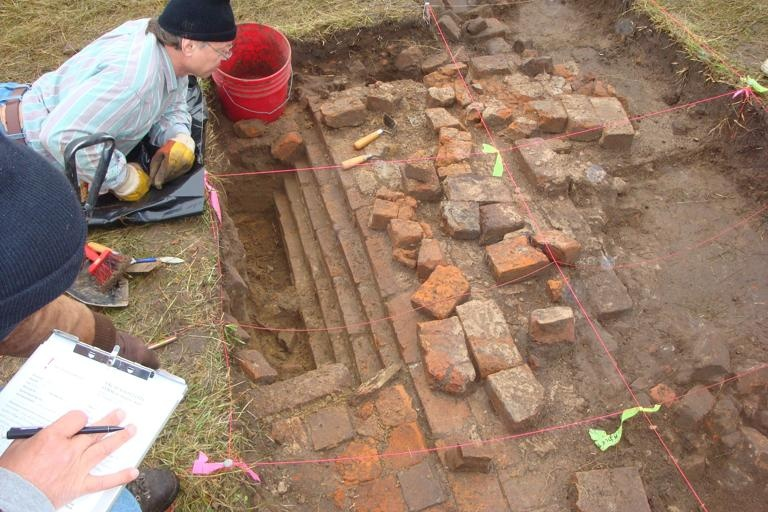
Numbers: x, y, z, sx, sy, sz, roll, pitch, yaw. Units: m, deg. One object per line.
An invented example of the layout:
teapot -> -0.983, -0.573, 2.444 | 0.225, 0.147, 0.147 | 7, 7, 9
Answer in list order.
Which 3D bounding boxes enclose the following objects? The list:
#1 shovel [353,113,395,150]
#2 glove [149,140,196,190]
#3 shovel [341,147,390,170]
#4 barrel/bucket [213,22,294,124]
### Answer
shovel -> -0.101, -1.246, 6.159 | 0.503, 0.239, 0.278 | -35, 58, -17
glove -> -1.838, -0.817, 5.095 | 0.452, 0.319, 0.181 | -56, 46, 14
shovel -> -0.175, -0.979, 5.938 | 0.508, 0.092, 0.092 | -18, 86, -13
barrel/bucket -> -1.305, -1.861, 6.134 | 0.808, 0.968, 0.969 | -17, 41, -29
